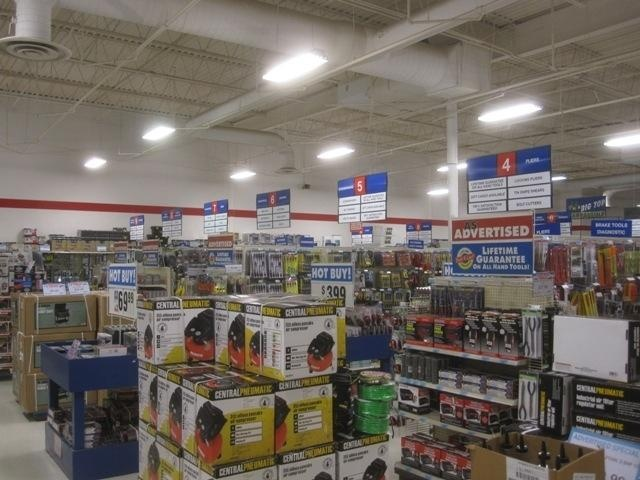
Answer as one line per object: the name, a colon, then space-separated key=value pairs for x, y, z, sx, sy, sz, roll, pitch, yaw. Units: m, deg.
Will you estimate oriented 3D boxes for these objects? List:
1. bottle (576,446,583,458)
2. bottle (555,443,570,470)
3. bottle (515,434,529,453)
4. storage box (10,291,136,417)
bottle: x=1.922 y=1.572 z=3.833 sx=0.043 sy=0.075 sz=0.106 roll=-3 pitch=0 yaw=26
bottle: x=1.777 y=1.590 z=3.816 sx=0.083 sy=0.172 sz=0.299 roll=-3 pitch=0 yaw=27
bottle: x=1.588 y=1.615 z=4.148 sx=0.111 sy=0.125 sz=0.111 roll=-6 pitch=5 yaw=-32
storage box: x=-4.466 y=2.160 z=9.427 sx=1.846 sy=2.665 sz=2.484 roll=-1 pitch=1 yaw=-28
